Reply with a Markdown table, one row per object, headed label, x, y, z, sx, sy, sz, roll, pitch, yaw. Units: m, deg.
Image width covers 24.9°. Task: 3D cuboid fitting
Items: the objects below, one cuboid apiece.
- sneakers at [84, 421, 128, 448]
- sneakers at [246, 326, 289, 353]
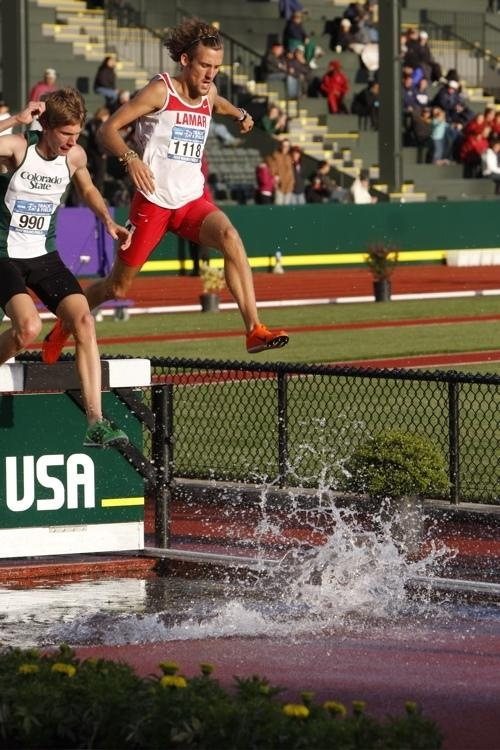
| label | x | y | z | sx | sy | sz | roll | pitch | yaw |
| --- | --- | --- | --- | --- | --- | --- | --- | --- | --- |
| sneakers | -0.695 | 0.283 | 5.500 | 0.102 | 0.115 | 0.261 | -6 | -6 | -43 |
| sneakers | 0.094 | -0.202 | 6.240 | 0.108 | 0.139 | 0.301 | -3 | -8 | -39 |
